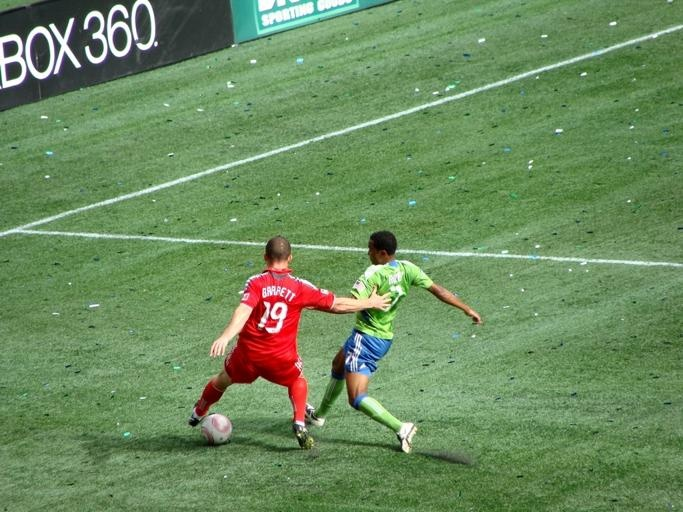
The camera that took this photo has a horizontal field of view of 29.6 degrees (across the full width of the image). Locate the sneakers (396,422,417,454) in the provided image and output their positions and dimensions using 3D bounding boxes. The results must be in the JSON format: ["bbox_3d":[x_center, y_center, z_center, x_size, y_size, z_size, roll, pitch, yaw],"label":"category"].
[{"bbox_3d":[0.705,1.994,14.223,0.201,0.386,0.144,-1,18,2],"label":"sneakers"}]

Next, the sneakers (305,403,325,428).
[{"bbox_3d":[-0.353,1.858,14.799,0.124,0.139,0.340,-28,54,-27],"label":"sneakers"}]

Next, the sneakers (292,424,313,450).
[{"bbox_3d":[-0.449,2.011,14.363,0.154,0.336,0.163,-26,18,3],"label":"sneakers"}]
